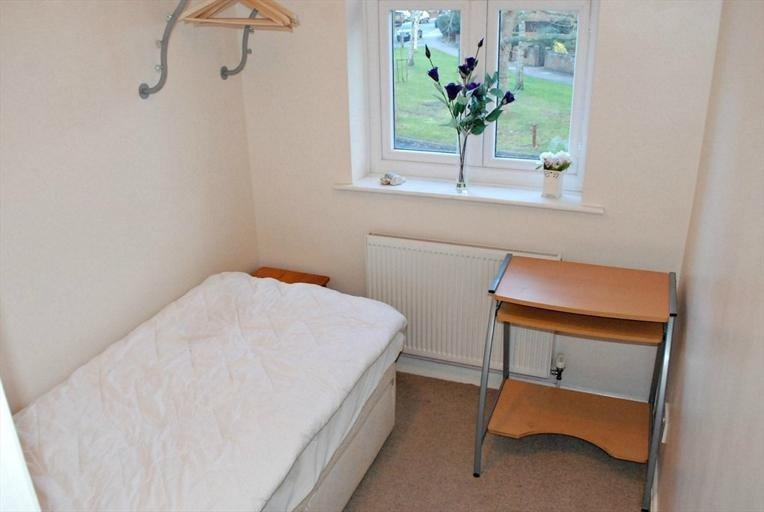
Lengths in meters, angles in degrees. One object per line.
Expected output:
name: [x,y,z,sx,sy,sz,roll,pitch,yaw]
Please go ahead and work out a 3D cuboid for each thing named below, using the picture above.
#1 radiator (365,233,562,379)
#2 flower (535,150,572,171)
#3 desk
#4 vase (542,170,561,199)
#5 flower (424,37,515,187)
radiator: [0.496,0.257,3.316,0.860,0.601,0.071,6,19,19]
flower: [1.010,-0.550,3.312,0.190,0.132,0.228,6,23,15]
desk: [1.024,0.615,3.049,0.944,1.105,0.711,7,23,16]
vase: [0.979,-0.417,3.277,0.110,0.161,0.068,11,25,25]
flower: [0.527,-0.847,3.395,0.528,0.839,0.385,2,23,5]
